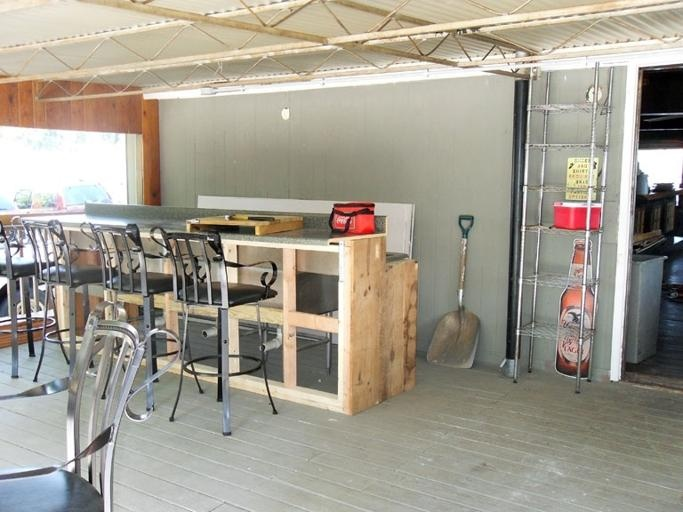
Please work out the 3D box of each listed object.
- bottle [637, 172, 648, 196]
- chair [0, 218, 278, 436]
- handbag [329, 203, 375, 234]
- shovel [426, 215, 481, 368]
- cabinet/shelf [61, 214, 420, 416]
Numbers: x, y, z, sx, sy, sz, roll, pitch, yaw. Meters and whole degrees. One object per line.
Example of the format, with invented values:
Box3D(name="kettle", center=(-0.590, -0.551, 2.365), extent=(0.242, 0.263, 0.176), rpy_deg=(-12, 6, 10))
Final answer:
Box3D(name="bottle", center=(4.947, -1.185, 9.252), extent=(0.159, 0.313, 0.910), rpy_deg=(6, 11, 26))
Box3D(name="chair", center=(-1.613, 0.557, 4.588), extent=(2.000, 1.538, 0.877), rpy_deg=(5, 9, 36))
Box3D(name="handbag", center=(0.123, -0.304, 4.666), extent=(0.435, 0.241, 0.307), rpy_deg=(6, 8, 40))
Box3D(name="shovel", center=(1.181, 0.394, 5.782), extent=(0.515, 1.403, 0.546), rpy_deg=(4, 12, 15))
Box3D(name="cabinet/shelf", center=(-0.781, 0.488, 4.633), extent=(2.098, 0.840, 0.780), rpy_deg=(5, 11, 31))
